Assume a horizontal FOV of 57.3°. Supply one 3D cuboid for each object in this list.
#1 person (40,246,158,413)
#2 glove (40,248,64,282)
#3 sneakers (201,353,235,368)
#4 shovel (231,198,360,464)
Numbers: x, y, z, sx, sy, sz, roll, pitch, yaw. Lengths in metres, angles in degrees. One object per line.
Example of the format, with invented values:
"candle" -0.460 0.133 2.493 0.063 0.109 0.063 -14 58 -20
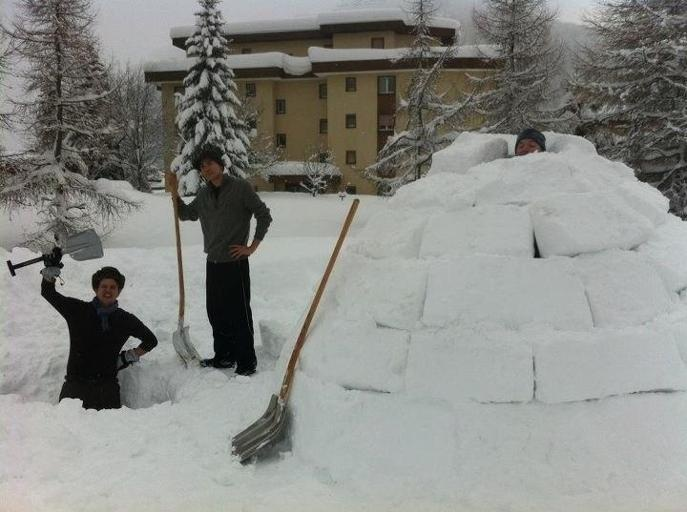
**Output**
"person" -2.699 0.838 6.887 1.375 2.416 0.602 2 -10 -21
"glove" -2.764 0.086 5.969 0.186 0.345 0.214 -3 9 -19
"sneakers" -1.252 1.039 6.325 0.371 0.186 0.132 3 -4 2
"shovel" -0.413 0.708 4.813 0.984 1.524 0.384 -8 11 -42
